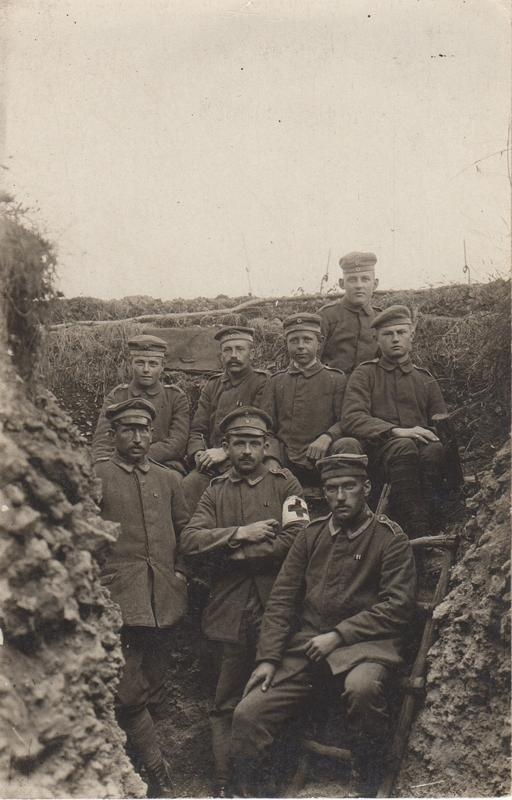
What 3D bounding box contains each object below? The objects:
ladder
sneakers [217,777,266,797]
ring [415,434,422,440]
[{"bbox_3d":[0.665,1.339,6.570,0.684,1.688,0.349,8,0,10],"label":"ladder"},{"bbox_3d":[-0.082,2.105,6.504,0.266,0.107,0.046,8,0,17],"label":"sneakers"},{"bbox_3d":[0.925,0.212,6.808,0.020,0.027,0.008,-14,-38,1],"label":"ring"}]
